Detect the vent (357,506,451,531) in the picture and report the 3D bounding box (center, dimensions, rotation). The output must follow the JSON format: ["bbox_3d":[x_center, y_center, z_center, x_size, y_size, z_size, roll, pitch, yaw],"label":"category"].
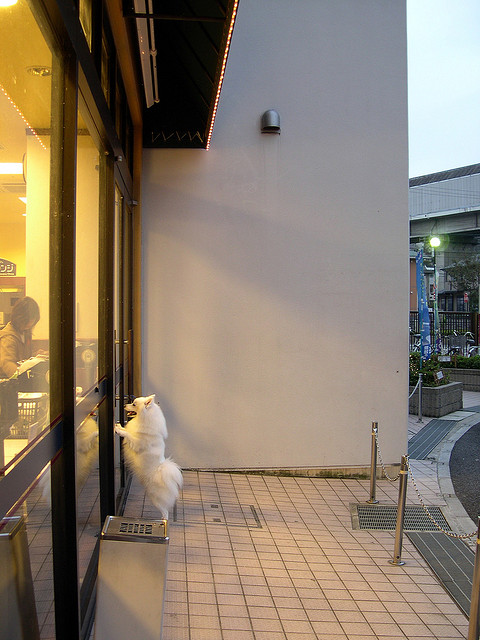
[{"bbox_3d":[1.524,1.867,4.973,0.952,0.065,0.551,3,-1,-7],"label":"vent"}]

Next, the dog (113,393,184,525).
[{"bbox_3d":[-0.700,1.020,3.995,0.515,0.947,0.392,2,-1,-7],"label":"dog"}]
